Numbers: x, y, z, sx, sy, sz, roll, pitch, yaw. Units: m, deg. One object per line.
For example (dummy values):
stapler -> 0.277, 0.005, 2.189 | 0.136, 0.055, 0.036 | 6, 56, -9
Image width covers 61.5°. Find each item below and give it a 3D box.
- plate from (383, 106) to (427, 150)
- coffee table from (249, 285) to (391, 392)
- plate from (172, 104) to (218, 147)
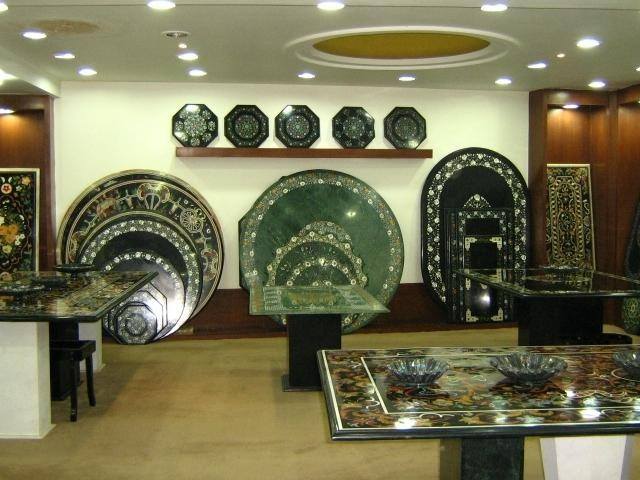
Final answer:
plate -> 1.093, -1.424, 6.872 | 0.650, 0.501, 0.115 | -4, 5, -10
coffee table -> -0.036, 0.887, 4.984 | 1.215, 0.592, 1.060 | 0, 5, -4
plate -> -1.534, -1.399, 6.562 | 0.533, 0.508, 0.143 | -1, 10, -12
